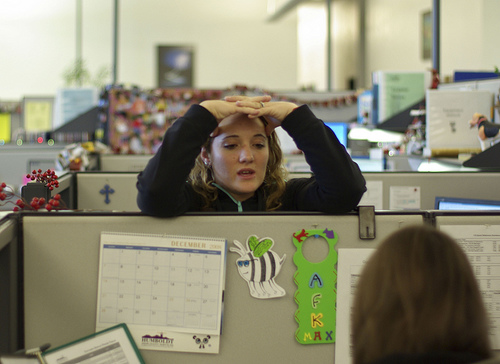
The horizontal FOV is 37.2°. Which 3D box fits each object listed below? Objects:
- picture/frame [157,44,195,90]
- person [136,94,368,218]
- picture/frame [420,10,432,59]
[{"bbox_3d":[-0.815,-1.265,8.127,0.407,0.451,0.319,-3,12,-6],"label":"picture/frame"},{"bbox_3d":[-0.027,-0.160,4.795,1.268,0.814,0.803,3,-6,-18],"label":"person"},{"bbox_3d":[2.621,-2.134,10.950,0.150,0.691,0.039,1,19,14],"label":"picture/frame"}]
